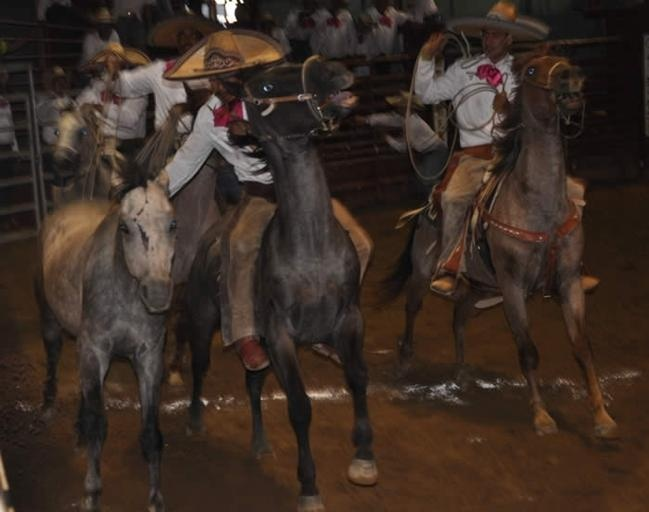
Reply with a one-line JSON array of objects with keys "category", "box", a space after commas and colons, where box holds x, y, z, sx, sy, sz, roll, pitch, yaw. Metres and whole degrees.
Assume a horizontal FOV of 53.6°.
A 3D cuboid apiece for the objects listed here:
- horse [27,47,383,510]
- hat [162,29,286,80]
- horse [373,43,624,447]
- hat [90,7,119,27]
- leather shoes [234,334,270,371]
[{"category": "horse", "box": [-0.778, 0.124, 4.317, 1.889, 2.755, 2.566, -8, 16, -34]}, {"category": "hat", "box": [-0.571, -1.259, 3.926, 0.745, 0.224, 0.514, -7, 25, 5]}, {"category": "horse", "box": [1.476, -0.135, 4.990, 0.556, 2.742, 1.903, -8, 16, -32]}, {"category": "hat", "box": [-3.176, -3.423, 9.162, 0.481, 0.269, 0.278, 13, 18, 41]}, {"category": "leather shoes", "box": [-0.462, 0.622, 4.077, 0.139, 0.272, 0.117, -26, 2, -1]}]
